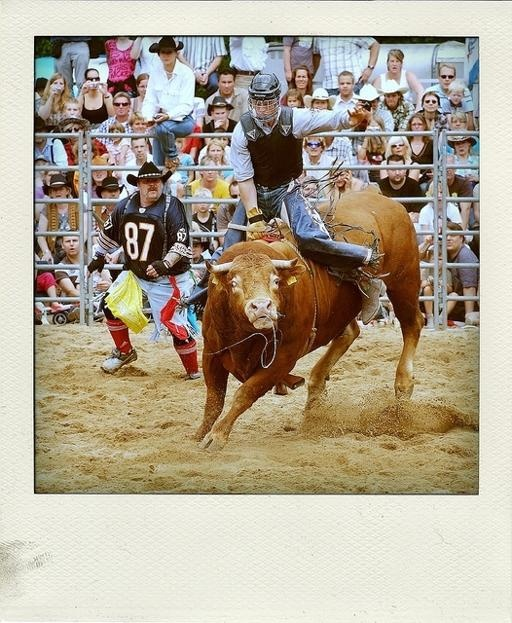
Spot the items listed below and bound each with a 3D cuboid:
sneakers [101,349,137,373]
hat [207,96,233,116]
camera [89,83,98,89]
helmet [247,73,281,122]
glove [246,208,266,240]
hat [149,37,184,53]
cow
[{"bbox_3d":[-1.109,0.374,6.914,0.360,0.140,0.121,-20,36,-29],"label":"sneakers"},{"bbox_3d":[-0.391,-2.118,8.739,0.216,0.083,0.229,-4,-10,-6],"label":"hat"},{"bbox_3d":[-1.674,-2.312,8.685,0.103,0.044,0.064,1,-10,0],"label":"camera"},{"bbox_3d":[0.063,-1.323,5.230,0.241,0.269,0.283,7,39,16],"label":"helmet"},{"bbox_3d":[0.001,-0.535,5.197,0.174,0.198,0.091,-5,-29,1],"label":"glove"},{"bbox_3d":[-0.886,-2.564,8.199,0.325,0.159,0.381,1,5,-1],"label":"hat"},{"bbox_3d":[0.325,0.071,5.309,0.992,1.321,2.386,5,15,30],"label":"cow"}]
